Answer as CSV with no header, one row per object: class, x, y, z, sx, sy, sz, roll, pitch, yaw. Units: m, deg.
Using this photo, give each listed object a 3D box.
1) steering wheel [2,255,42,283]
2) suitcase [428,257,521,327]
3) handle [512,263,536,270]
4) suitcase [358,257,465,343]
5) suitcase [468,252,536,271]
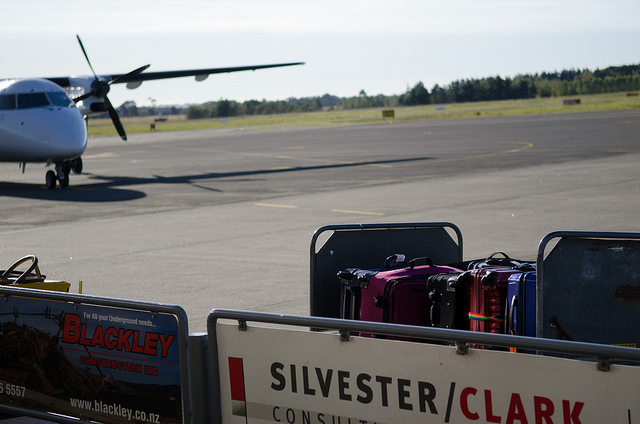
steering wheel,-4.076,0.763,15.302,0.459,0.109,0.437,-23,4,2
suitcase,1.976,1.005,14.517,0.687,0.872,1.053,-1,-3,18
handle,2.588,0.694,14.435,0.363,0.048,0.071,-5,15,-25
suitcase,1.023,1.099,14.587,1.741,1.355,0.893,-1,-7,0
suitcase,2.388,0.657,14.713,0.779,0.278,0.449,-1,1,-4
